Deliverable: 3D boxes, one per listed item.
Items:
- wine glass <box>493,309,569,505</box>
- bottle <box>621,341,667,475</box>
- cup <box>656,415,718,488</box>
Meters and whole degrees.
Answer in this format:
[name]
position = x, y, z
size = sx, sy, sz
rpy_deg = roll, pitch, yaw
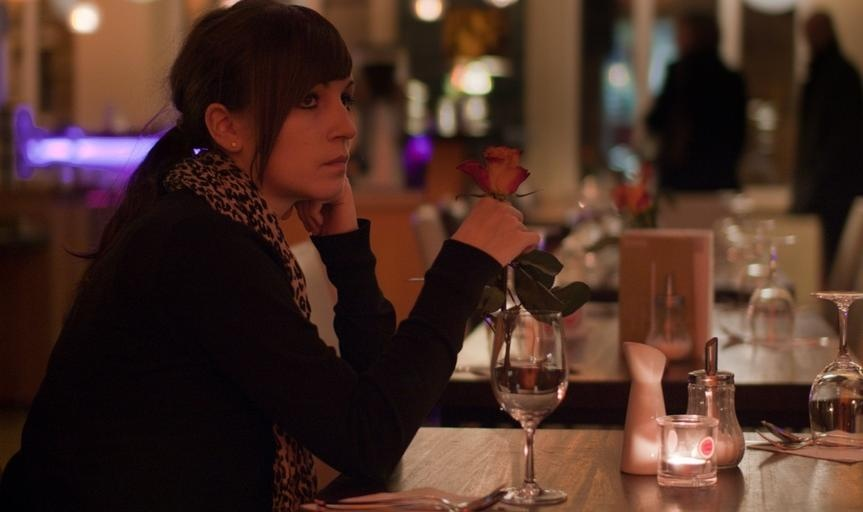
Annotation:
[wine glass]
position = 0.220, 0.316, 1.921
size = 0.169, 0.396, 0.215
rpy_deg = -1, 12, -1
[bottle]
position = 0.488, 0.345, 1.984
size = 0.095, 0.281, 0.114
rpy_deg = 2, 12, 12
[cup]
position = 0.569, 0.433, 1.985
size = 0.144, 0.152, 0.143
rpy_deg = 1, 0, 0
